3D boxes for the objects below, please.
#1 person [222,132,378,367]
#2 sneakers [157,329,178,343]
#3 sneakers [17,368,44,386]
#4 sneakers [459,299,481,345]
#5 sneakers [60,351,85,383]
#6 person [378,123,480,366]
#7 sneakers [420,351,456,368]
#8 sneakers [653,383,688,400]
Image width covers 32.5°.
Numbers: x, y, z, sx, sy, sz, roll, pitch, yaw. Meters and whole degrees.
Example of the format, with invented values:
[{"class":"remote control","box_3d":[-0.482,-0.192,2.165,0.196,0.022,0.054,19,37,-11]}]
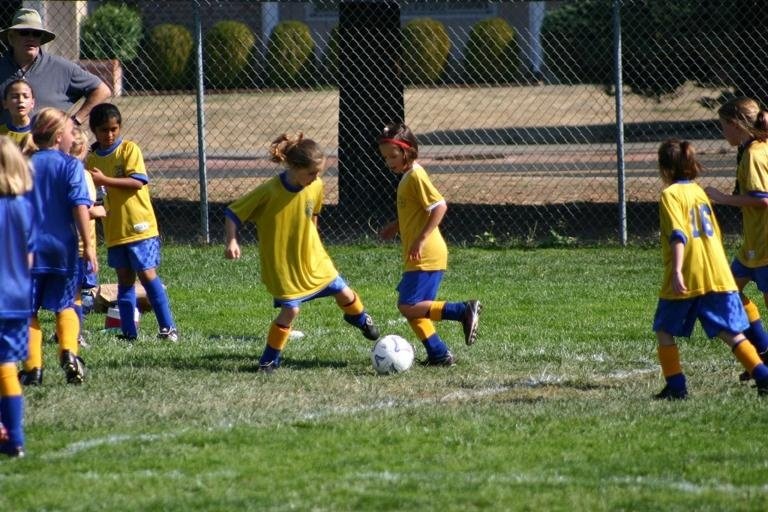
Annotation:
[{"class":"person","box_3d":[-0.744,-0.059,12.663,1.428,2.333,0.632,-11,30,-18]},{"class":"sneakers","box_3d":[-2.180,0.801,13.310,0.199,0.102,0.106,0,5,33]},{"class":"sneakers","box_3d":[-3.234,1.102,12.086,0.267,0.124,0.102,4,6,36]},{"class":"sneakers","box_3d":[0.832,0.600,12.687,0.198,0.461,0.157,8,10,28]},{"class":"sneakers","box_3d":[-2.861,1.004,12.137,0.140,0.369,0.191,-14,33,-3]},{"class":"person","box_3d":[0.419,-0.107,12.678,0.883,2.297,0.551,-1,4,-1]},{"class":"sneakers","box_3d":[0.527,0.996,12.746,0.329,0.160,0.126,1,-1,-1]},{"class":"sneakers","box_3d":[2.594,1.203,11.817,0.344,0.155,0.122,2,0,21]}]
